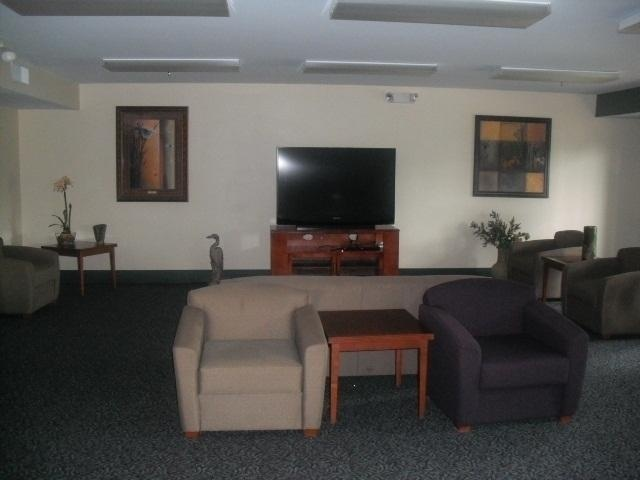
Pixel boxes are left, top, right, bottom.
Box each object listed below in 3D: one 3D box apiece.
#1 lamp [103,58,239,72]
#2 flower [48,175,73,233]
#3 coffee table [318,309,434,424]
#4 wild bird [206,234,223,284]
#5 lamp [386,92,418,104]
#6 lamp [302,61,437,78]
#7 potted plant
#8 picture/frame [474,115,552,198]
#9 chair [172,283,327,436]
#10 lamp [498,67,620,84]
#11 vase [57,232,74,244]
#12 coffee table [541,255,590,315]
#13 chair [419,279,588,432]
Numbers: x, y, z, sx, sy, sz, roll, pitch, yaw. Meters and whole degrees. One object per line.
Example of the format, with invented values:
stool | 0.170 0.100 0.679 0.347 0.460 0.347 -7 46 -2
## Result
lamp | -1.771 -2.123 6.215 1.611 0.142 0.322 0 13 -4
flower | -3.699 -0.480 7.322 0.346 0.844 0.774 -7 15 -28
coffee table | 0.448 0.910 4.233 0.833 0.698 0.833 -1 15 -1
wild bird | -1.498 0.287 7.377 0.244 0.738 0.658 -2 13 -11
lamp | 1.225 -2.097 7.581 0.491 0.158 0.307 2 13 5
lamp | 0.625 -2.145 6.403 1.666 0.130 0.410 -1 13 -5
potted plant | 2.726 0.113 7.772 1.049 1.200 0.937 0 -4 -1
picture/frame | 2.946 -1.327 7.898 1.283 1.287 0.099 0 1 -8
chair | -0.536 0.941 4.188 1.283 1.041 1.020 0 9 -3
lamp | 3.039 -2.112 6.572 1.638 0.142 0.386 -1 13 -8
vase | -3.520 -0.014 7.085 0.196 0.131 0.163 0 3 0
coffee table | 2.945 0.523 6.363 0.515 0.577 0.591 -7 14 -25
chair | 1.422 0.917 4.379 1.215 1.178 1.146 0 1 -8
